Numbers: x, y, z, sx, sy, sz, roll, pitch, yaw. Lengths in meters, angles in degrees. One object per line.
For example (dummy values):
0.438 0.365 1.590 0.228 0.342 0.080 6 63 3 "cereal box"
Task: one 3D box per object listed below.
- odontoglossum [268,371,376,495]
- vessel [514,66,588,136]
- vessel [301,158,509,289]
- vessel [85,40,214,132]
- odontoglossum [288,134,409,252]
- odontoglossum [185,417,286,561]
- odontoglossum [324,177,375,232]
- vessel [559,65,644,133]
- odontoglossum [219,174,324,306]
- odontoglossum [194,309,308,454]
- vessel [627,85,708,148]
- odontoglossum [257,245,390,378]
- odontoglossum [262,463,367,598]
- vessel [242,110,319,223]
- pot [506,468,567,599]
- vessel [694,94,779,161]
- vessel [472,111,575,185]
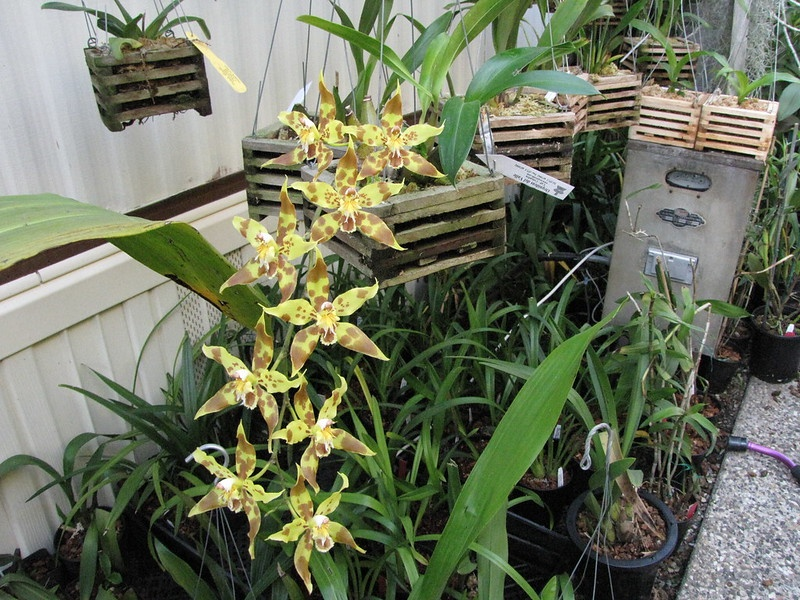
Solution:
-0.150 0.246 1.054 0.185 0.084 0.186 -11 63 -16 "odontoglossum"
0.429 -0.560 1.664 0.168 0.184 0.290 1 36 0 "vessel"
0.082 -0.182 1.419 0.425 0.197 0.304 -18 39 -27 "vessel"
-0.686 -0.589 1.592 0.274 0.192 0.149 -21 34 -30 "vessel"
-0.085 -0.158 1.023 0.204 0.090 0.213 -35 67 -23 "odontoglossum"
-0.296 0.346 1.093 0.203 0.090 0.238 -25 39 -6 "odontoglossum"
-0.090 -0.169 1.041 0.072 0.085 0.034 5 2 5 "odontoglossum"
0.801 -0.725 2.159 0.164 0.150 0.264 15 33 22 "vessel"
-0.219 -0.110 1.006 0.156 0.078 0.192 -11 41 11 "odontoglossum"
-0.254 0.139 1.047 0.234 0.111 0.253 -34 42 29 "odontoglossum"
0.895 -0.597 1.994 0.201 0.140 0.215 19 40 24 "vessel"
-0.136 0.020 1.018 0.192 0.240 0.227 -3 24 -5 "odontoglossum"
-0.154 0.437 1.138 0.223 0.095 0.237 30 85 47 "odontoglossum"
-0.295 -0.357 1.672 0.267 0.218 0.210 -3 20 -3 "vessel"
0.415 0.684 1.718 0.197 0.409 0.245 4 23 13 "pot"
1.100 -0.561 1.892 0.211 0.178 0.193 16 29 33 "vessel"
0.440 -0.451 1.931 0.244 0.181 0.389 -1 3 2 "vessel"
